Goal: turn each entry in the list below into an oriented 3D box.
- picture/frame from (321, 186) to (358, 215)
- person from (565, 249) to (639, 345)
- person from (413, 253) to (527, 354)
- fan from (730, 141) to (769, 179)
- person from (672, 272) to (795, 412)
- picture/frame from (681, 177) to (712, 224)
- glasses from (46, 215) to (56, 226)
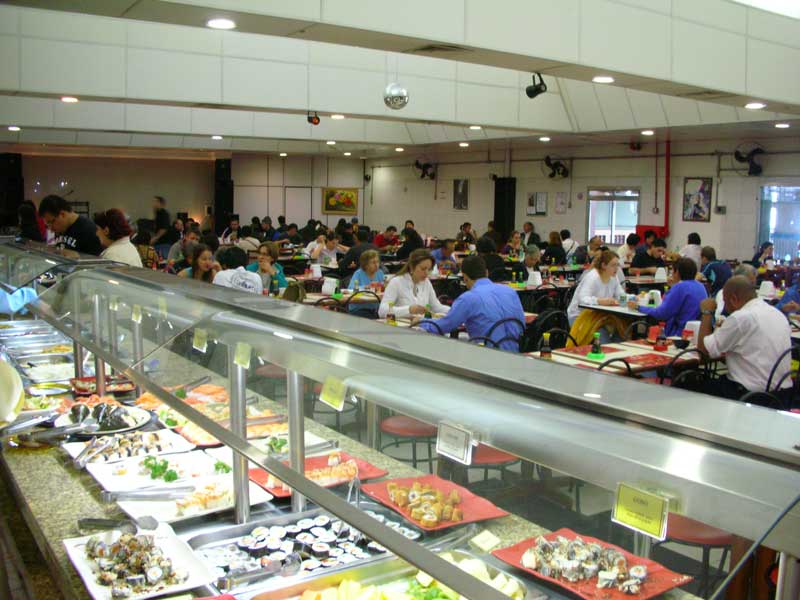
[{"bbox_3d":[-2.049,-3.262,20.253,1.010,0.691,0.072,-4,9,-34],"label":"picture/frame"},{"bbox_3d":[2.182,0.080,6.802,0.592,1.199,0.589,5,11,39],"label":"person"},{"bbox_3d":[0.619,0.039,5.184,0.814,0.756,0.653,8,13,21],"label":"person"},{"bbox_3d":[6.432,-2.550,11.453,0.539,0.538,0.202,11,14,30],"label":"fan"},{"bbox_3d":[2.494,0.336,4.423,0.596,0.986,1.061,5,12,7],"label":"person"},{"bbox_3d":[5.892,-1.967,12.260,0.076,1.140,0.818,-5,12,-28],"label":"picture/frame"},{"bbox_3d":[-2.834,-0.639,5.047,0.078,0.042,0.079,11,25,38],"label":"glasses"}]
